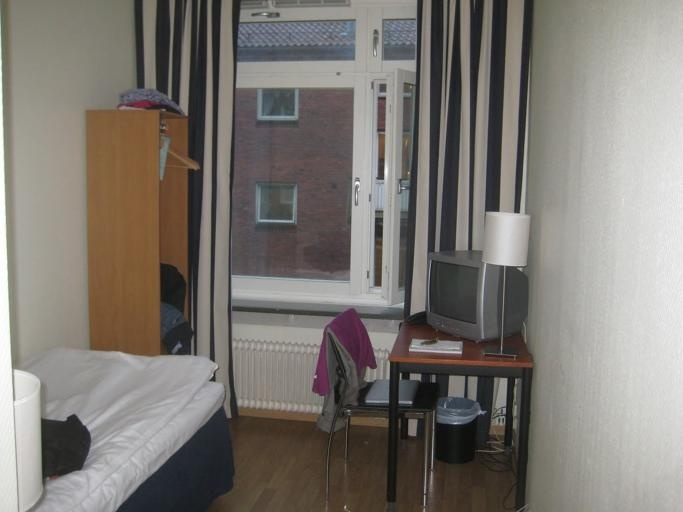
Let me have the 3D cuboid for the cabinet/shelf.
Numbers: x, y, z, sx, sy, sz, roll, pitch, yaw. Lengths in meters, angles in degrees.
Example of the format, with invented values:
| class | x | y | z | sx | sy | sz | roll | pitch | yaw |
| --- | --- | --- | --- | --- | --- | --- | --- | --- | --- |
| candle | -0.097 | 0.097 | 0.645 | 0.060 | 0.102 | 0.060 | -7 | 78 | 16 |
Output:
| class | x | y | z | sx | sy | sz | roll | pitch | yaw |
| --- | --- | --- | --- | --- | --- | --- | --- | --- | --- |
| cabinet/shelf | -1.297 | -0.154 | 4.116 | 0.559 | 1.537 | 0.682 | 4 | 11 | 15 |

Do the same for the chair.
| class | x | y | z | sx | sy | sz | roll | pitch | yaw |
| --- | --- | --- | --- | --- | --- | --- | --- | --- | --- |
| chair | 0.213 | 0.851 | 4.139 | 0.854 | 1.450 | 0.902 | 0 | 3 | 9 |

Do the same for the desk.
| class | x | y | z | sx | sy | sz | roll | pitch | yaw |
| --- | --- | --- | --- | --- | --- | --- | --- | --- | --- |
| desk | 0.705 | 0.991 | 3.972 | 0.766 | 1.151 | 1.135 | 2 | 7 | 9 |

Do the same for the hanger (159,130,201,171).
| class | x | y | z | sx | sy | sz | roll | pitch | yaw |
| --- | --- | --- | --- | --- | --- | --- | --- | --- | --- |
| hanger | -1.077 | -0.640 | 4.156 | 0.184 | 0.294 | 0.293 | 15 | 11 | 26 |

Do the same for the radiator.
| class | x | y | z | sx | sy | sz | roll | pitch | yaw |
| --- | --- | --- | --- | --- | --- | --- | --- | --- | --- |
| radiator | -0.368 | 0.892 | 4.672 | 0.940 | 0.514 | 0.059 | 14 | -31 | -42 |

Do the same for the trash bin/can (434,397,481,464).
| class | x | y | z | sx | sy | sz | roll | pitch | yaw |
| --- | --- | --- | --- | --- | --- | --- | --- | --- | --- |
| trash bin/can | 0.705 | 1.095 | 4.151 | 0.330 | 0.377 | 0.356 | 1 | 6 | 0 |

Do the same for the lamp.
| class | x | y | z | sx | sy | sz | roll | pitch | yaw |
| --- | --- | --- | --- | --- | --- | --- | --- | --- | --- |
| lamp | 0.932 | 0.149 | 3.562 | 0.256 | 0.778 | 0.306 | -2 | 11 | -11 |
